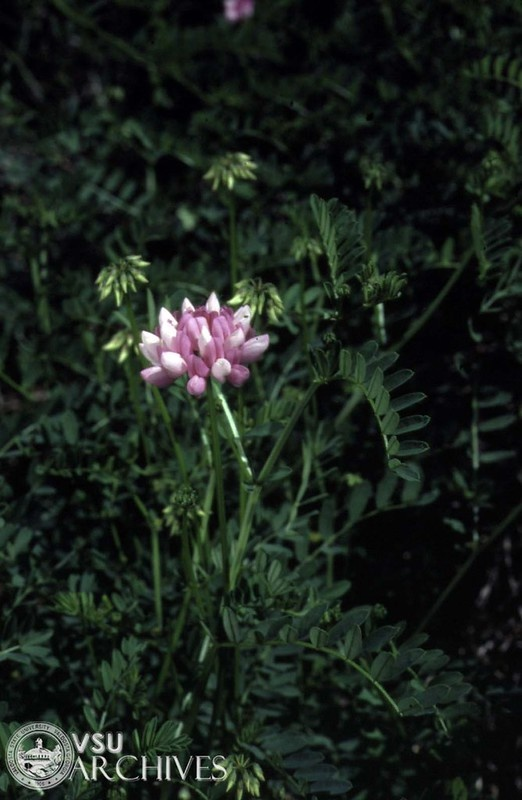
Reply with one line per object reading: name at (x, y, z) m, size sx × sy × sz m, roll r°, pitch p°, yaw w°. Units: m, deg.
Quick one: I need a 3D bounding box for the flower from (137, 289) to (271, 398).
flower at (-0.052, -0.042, 0.632) m, size 0.091 × 0.052 × 0.093 m, roll 11°, pitch 50°, yaw 10°
